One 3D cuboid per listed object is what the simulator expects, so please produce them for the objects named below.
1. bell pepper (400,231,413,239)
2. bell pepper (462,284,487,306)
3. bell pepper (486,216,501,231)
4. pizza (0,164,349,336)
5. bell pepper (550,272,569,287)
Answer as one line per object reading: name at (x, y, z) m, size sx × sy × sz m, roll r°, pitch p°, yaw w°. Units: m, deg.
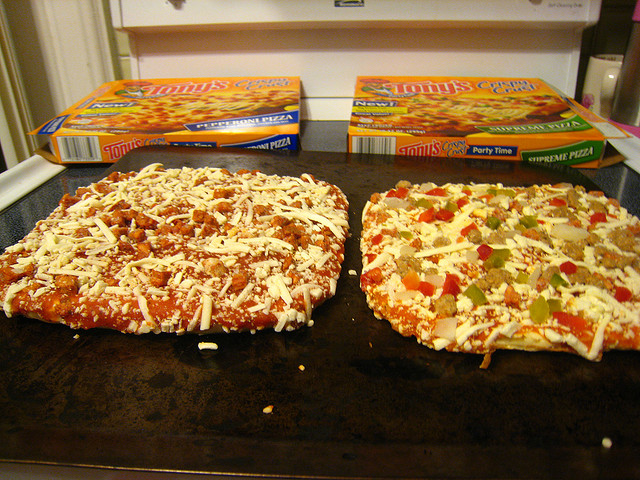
bell pepper at (0.257, -0.016, 1.523) m, size 0.033 × 0.012 × 0.038 m, roll -14°, pitch 34°, yaw -21°
bell pepper at (0.405, 0.145, 1.341) m, size 0.041 × 0.034 × 0.056 m, roll -18°, pitch 37°, yaw -22°
bell pepper at (0.509, -0.049, 1.517) m, size 0.048 × 0.019 × 0.035 m, roll -6°, pitch 44°, yaw -6°
pizza at (-0.400, 0.000, 1.576) m, size 0.938 × 0.216 × 0.701 m, roll 2°, pitch 32°, yaw 4°
bell pepper at (0.627, 0.105, 1.360) m, size 0.041 × 0.013 × 0.035 m, roll -33°, pitch 67°, yaw -27°
